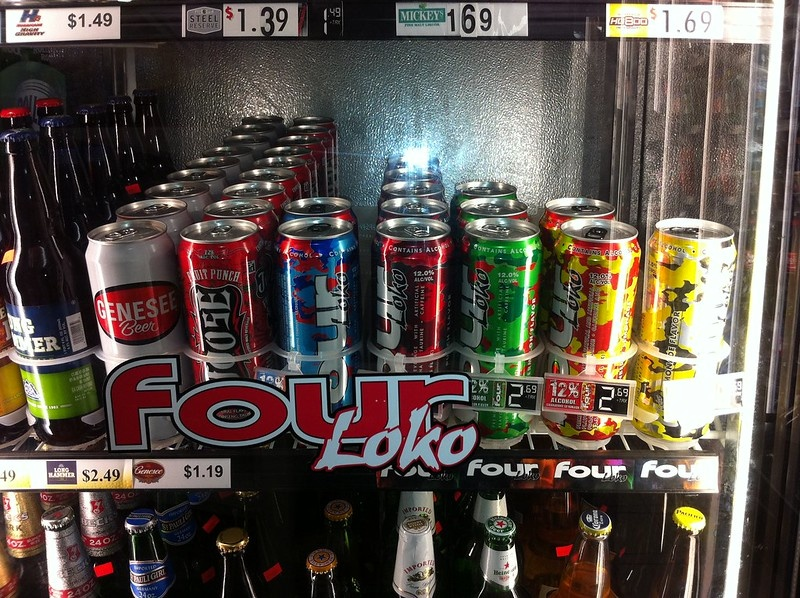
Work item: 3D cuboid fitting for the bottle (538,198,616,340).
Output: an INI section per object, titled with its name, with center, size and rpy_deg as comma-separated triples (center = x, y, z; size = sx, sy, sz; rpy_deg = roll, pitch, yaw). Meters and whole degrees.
[bottle]
center = 0.365, -0.049, 1.417
size = 0.187, 0.297, 0.170
rpy_deg = -3, 27, 2
